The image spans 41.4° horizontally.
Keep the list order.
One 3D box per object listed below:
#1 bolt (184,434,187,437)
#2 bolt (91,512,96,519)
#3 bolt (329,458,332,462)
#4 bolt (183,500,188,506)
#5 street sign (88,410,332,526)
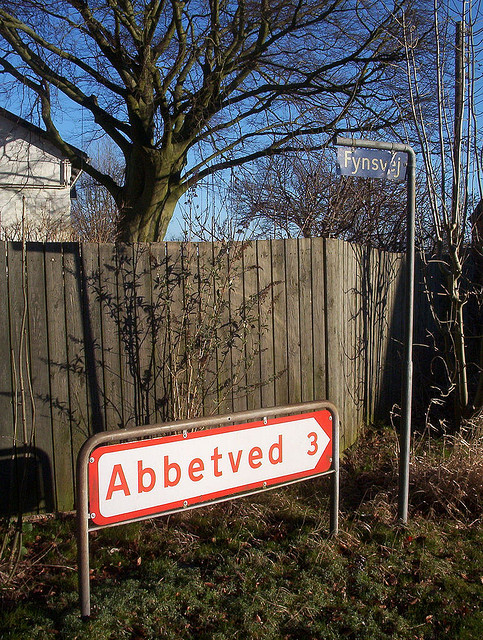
[{"bbox_3d":[-0.314,0.655,3.619,0.005,0.014,0.012,-1,-1,18],"label":"bolt"},{"bbox_3d":[-0.742,1.021,3.335,0.024,0.033,0.010,1,-2,-34],"label":"bolt"},{"bbox_3d":[0.524,0.913,4.156,0.019,0.027,0.006,5,2,-18],"label":"bolt"},{"bbox_3d":[-0.313,1.038,3.618,0.026,0.035,0.010,4,-6,-39],"label":"bolt"},{"bbox_3d":[-0.108,0.784,3.721,1.481,0.586,0.065,-7,19,-23],"label":"street sign"}]
